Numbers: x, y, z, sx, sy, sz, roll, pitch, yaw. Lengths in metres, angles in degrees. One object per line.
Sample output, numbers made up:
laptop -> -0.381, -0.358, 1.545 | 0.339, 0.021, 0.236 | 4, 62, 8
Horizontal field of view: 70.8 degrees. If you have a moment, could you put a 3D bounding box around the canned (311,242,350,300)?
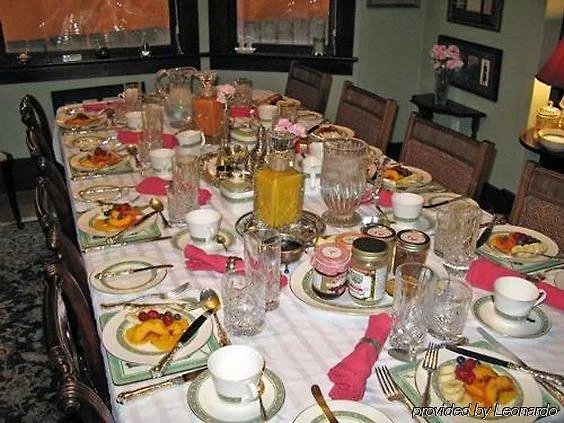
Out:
canned -> 0.114, 0.166, 1.155 | 0.126, 0.134, 0.135 | 2, 32, 1

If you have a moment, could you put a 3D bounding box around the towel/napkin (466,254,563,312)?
towel/napkin -> 0.664, 0.216, 1.139 | 0.202, 0.044, 0.120 | 28, 20, 37

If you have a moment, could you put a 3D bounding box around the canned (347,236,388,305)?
canned -> 0.230, 0.163, 1.067 | 0.101, 0.152, 0.101 | 22, 41, 27

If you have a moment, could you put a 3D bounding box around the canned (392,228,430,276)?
canned -> 0.366, 0.108, 1.193 | 0.119, 0.124, 0.116 | -5, 30, -5
